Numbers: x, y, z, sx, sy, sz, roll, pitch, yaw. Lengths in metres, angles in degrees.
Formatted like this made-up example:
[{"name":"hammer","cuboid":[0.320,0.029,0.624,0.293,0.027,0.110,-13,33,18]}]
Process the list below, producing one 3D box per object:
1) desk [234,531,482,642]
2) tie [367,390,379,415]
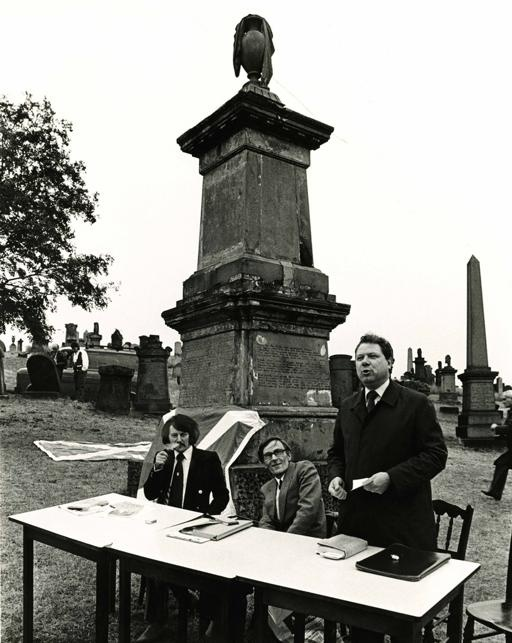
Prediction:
[{"name":"desk","cuboid":[0.319,1.096,2.837,1.009,0.260,0.671,-7,-16,39]},{"name":"tie","cuboid":[0.585,0.402,3.418,0.034,0.036,0.146,-4,33,12]}]
